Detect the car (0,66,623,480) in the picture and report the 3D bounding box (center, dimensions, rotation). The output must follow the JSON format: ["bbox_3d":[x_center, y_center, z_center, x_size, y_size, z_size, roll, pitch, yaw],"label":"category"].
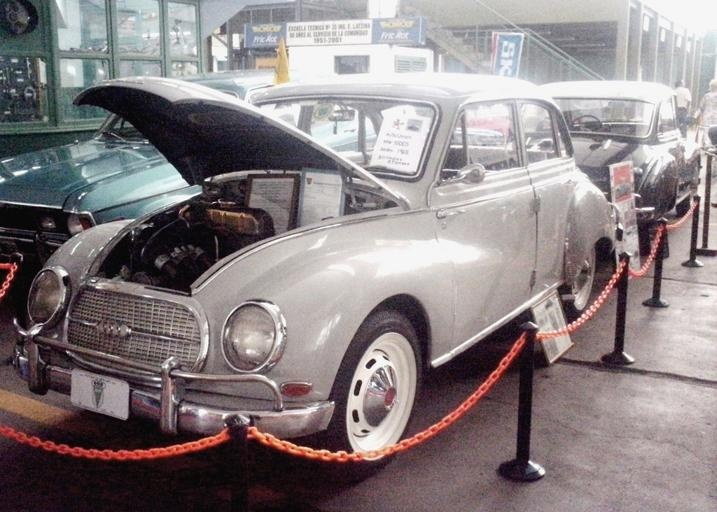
[{"bbox_3d":[0.071,-0.100,4.160,2.292,1.833,4.204,10,16,43],"label":"car"}]

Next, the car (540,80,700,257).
[{"bbox_3d":[4.131,-1.619,8.376,1.909,1.612,3.391,4,16,30],"label":"car"}]
